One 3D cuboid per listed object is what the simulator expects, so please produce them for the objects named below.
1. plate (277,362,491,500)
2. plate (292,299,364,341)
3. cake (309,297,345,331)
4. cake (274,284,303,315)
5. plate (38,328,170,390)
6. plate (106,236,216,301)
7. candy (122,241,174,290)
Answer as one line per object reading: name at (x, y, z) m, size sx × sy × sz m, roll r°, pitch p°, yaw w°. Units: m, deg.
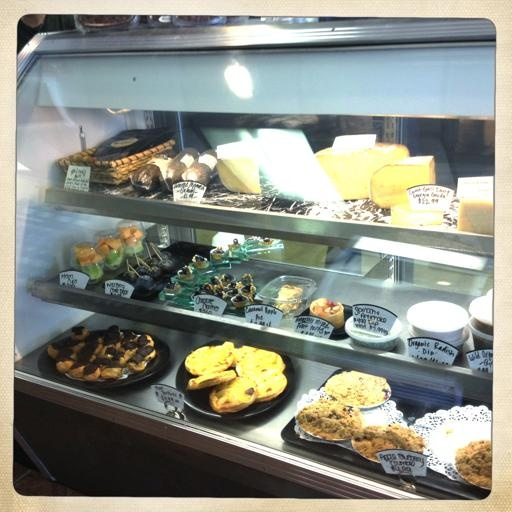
plate at (0.302, 0.392, 1.082) m, size 0.273 × 0.158 × 0.520 m, roll -8°, pitch 11°, yaw -42°
plate at (0.185, 0.149, 1.165) m, size 0.128 × 0.074 × 0.116 m, roll -13°, pitch 23°, yaw -25°
cake at (0.184, 0.150, 1.204) m, size 0.081 × 0.034 × 0.068 m, roll 3°, pitch 16°, yaw 8°
cake at (0.095, 0.123, 1.344) m, size 0.065 × 0.028 × 0.086 m, roll 9°, pitch 33°, yaw 18°
plate at (-0.482, 0.316, 1.497) m, size 0.394 × 0.043 × 0.379 m, roll -10°, pitch 22°, yaw -23°
plate at (-0.331, 0.036, 1.629) m, size 0.192 × 0.033 × 0.271 m, roll 10°, pitch 26°, yaw 20°
candy at (-0.385, 0.036, 1.616) m, size 0.153 × 0.131 × 0.162 m, roll 18°, pitch 35°, yaw 36°
